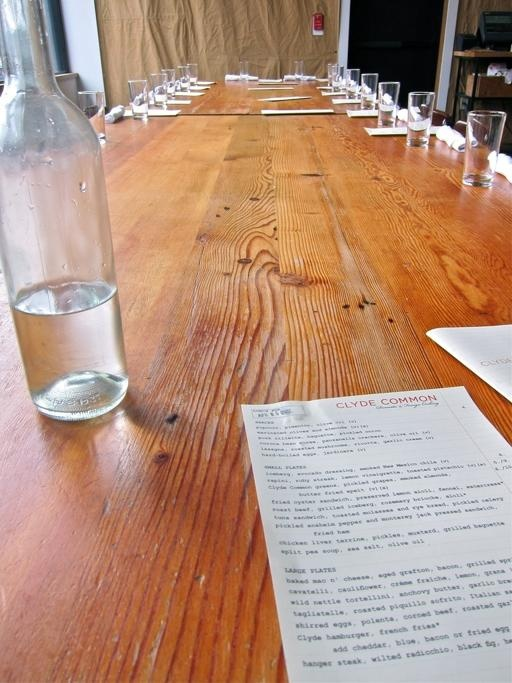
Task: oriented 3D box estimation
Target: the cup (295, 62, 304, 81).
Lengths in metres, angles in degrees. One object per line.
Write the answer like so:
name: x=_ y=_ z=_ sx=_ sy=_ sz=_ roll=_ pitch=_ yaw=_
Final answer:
cup: x=0.388 y=-2.427 z=4.288 sx=0.060 sy=0.147 sz=0.127 roll=-2 pitch=30 yaw=0
